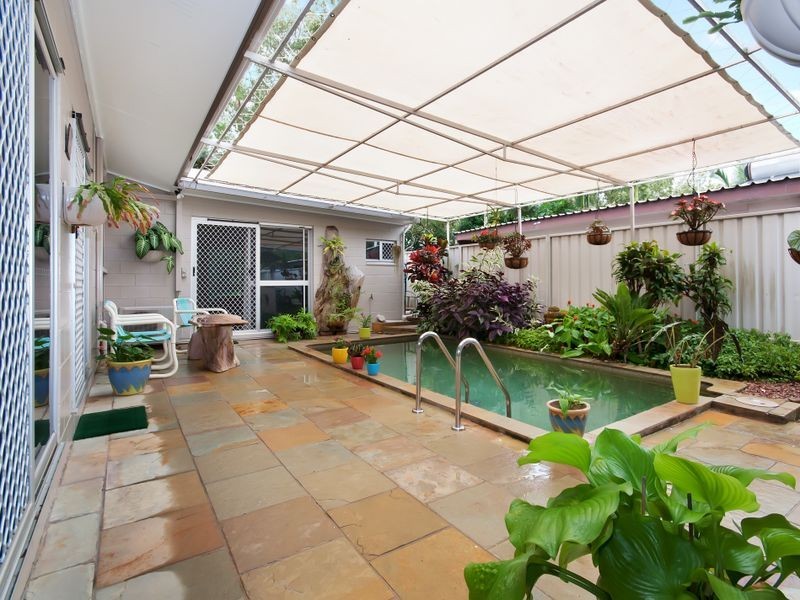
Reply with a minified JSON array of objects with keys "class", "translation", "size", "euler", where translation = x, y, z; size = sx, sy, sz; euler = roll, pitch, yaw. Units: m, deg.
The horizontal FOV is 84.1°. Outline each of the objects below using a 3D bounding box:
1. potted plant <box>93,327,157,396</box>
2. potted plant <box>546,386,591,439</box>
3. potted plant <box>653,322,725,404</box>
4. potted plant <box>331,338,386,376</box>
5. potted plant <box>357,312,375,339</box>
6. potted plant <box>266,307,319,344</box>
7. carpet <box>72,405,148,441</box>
[{"class":"potted plant","translation":[-2.956,0.654,4.819],"size":[0.529,0.672,0.712],"euler":[2,1,7]},{"class":"potted plant","translation":[1.364,0.927,3.569],"size":[0.289,0.382,0.334],"euler":[5,10,30]},{"class":"potted plant","translation":[3.326,0.734,5.020],"size":[0.877,0.814,0.842],"euler":[-1,1,11]},{"class":"potted plant","translation":[-0.553,0.757,5.983],"size":[0.390,0.378,0.919],"euler":[0,4,-24]},{"class":"potted plant","translation":[-0.707,0.530,9.060],"size":[0.424,0.519,0.455],"euler":[0,-2,2]},{"class":"potted plant","translation":[-2.122,0.496,8.593],"size":[0.649,0.411,0.644],"euler":[-1,-1,35]},{"class":"carpet","translation":[-2.564,1.085,3.951],"size":[0.540,0.037,0.725],"euler":[-5,9,-32]}]
